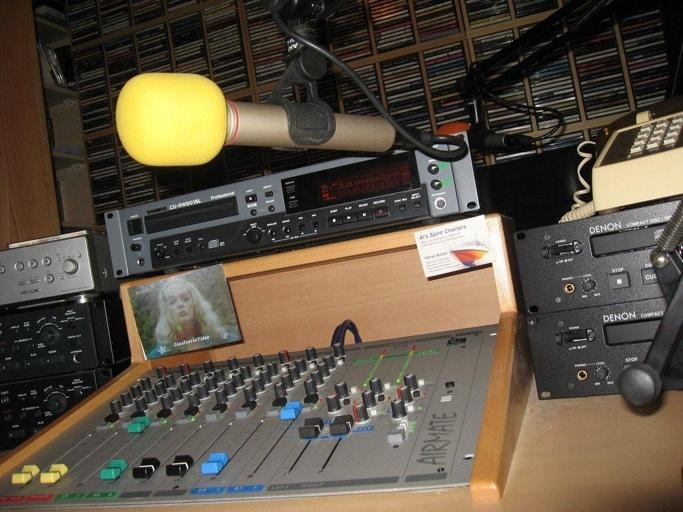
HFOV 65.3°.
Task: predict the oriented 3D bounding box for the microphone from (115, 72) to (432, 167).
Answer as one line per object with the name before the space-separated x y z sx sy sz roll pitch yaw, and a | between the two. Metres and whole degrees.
microphone | -0.115 -0.214 1.063 0.686 0.181 0.197 -2 12 -26
